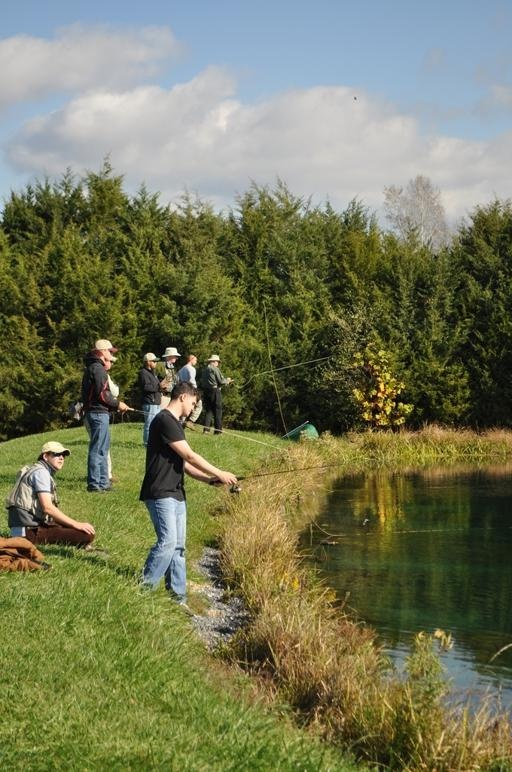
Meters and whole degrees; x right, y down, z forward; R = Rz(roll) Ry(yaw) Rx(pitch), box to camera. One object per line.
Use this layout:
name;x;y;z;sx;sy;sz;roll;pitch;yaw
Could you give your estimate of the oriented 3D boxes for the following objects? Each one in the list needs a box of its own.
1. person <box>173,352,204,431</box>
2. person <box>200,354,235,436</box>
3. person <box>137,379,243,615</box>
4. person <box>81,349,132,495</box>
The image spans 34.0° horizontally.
person;-1.426;0.135;17.788;0.598;1.528;0.495;3;3;30
person;-0.945;0.239;19.983;0.776;2.207;0.855;3;2;-37
person;-0.670;1.003;7.463;0.716;2.018;0.713;0;-2;-8
person;-2.159;0.432;11.603;0.484;2.095;0.689;0;-2;-13
